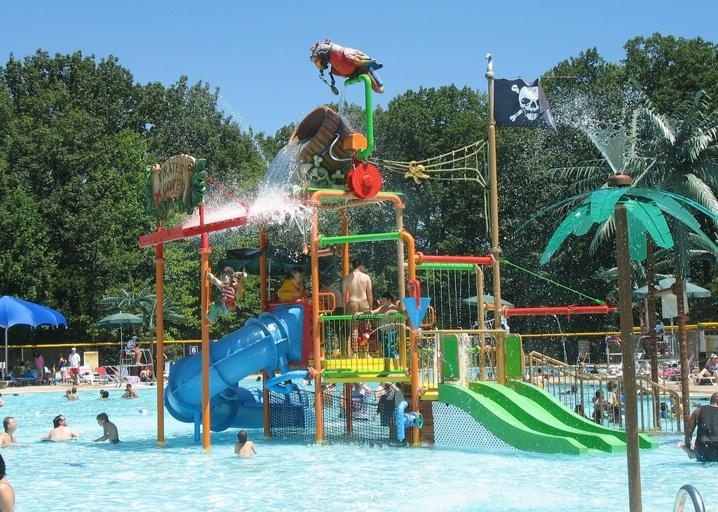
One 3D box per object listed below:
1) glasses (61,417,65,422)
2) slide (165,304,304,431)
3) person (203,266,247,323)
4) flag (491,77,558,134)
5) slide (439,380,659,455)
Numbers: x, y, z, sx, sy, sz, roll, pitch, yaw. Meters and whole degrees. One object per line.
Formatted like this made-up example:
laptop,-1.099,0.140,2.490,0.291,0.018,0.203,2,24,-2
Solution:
glasses,-8.906,4.938,33.746,0.124,0.135,0.160,-10,-16,37
slide,-3.078,3.127,32.927,3.755,3.986,3.240,-6,-3,38
person,-3.617,1.094,30.951,0.661,1.658,1.767,5,15,-7
flag,5.026,-4.749,34.763,1.865,1.589,0.857,1,-8,-22
slide,4.775,4.443,30.891,4.634,2.061,1.377,-4,-8,16
